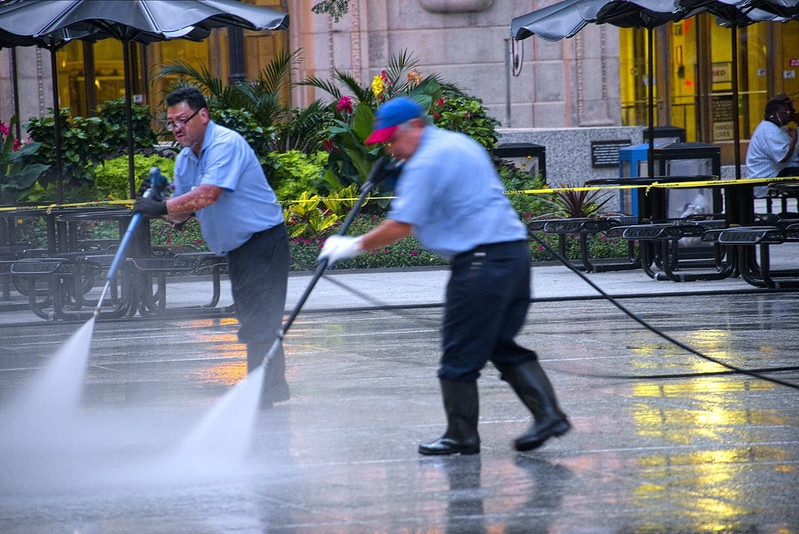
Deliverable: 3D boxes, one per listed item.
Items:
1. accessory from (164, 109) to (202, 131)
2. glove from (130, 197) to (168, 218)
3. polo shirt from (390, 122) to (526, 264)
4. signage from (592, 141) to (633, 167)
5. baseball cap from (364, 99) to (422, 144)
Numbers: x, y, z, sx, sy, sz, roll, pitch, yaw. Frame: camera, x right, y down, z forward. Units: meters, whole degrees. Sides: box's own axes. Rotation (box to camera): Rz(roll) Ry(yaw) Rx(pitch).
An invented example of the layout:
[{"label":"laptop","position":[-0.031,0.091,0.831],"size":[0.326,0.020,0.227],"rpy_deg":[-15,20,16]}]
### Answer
[{"label":"accessory","position":[-2.412,-1.587,18.190],"size":[0.282,0.226,0.531],"rpy_deg":[-3,6,-33]},{"label":"glove","position":[-2.642,-0.636,17.853],"size":[0.368,0.197,0.257],"rpy_deg":[-1,5,-7]},{"label":"polo shirt","position":[0.545,-0.742,16.606],"size":[1.306,1.313,0.388],"rpy_deg":[0,5,2]},{"label":"signage","position":[3.866,-2.061,30.757],"size":[0.947,0.504,0.093],"rpy_deg":[0,-6,-2]},{"label":"baseball cap","position":[-0.103,-1.493,16.695],"size":[0.629,0.269,0.382],"rpy_deg":[-22,19,-9]}]
